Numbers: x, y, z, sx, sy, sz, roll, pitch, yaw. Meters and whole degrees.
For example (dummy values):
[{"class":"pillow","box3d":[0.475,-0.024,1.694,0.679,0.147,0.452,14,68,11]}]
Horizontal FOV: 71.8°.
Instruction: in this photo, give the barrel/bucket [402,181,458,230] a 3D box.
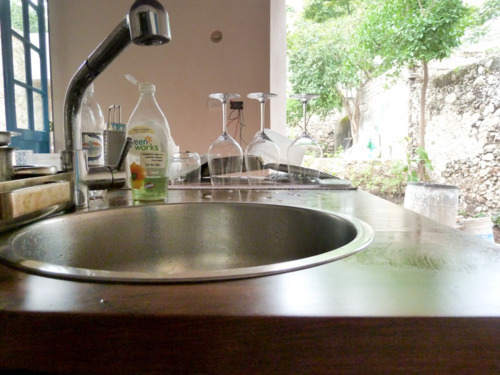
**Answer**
[{"class":"barrel/bucket","box3d":[1.175,0.107,2.253,0.306,0.276,0.210,7,11,23]}]

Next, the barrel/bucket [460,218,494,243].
[{"class":"barrel/bucket","box3d":[1.843,0.337,2.801,0.204,0.191,0.341,9,11,31]}]

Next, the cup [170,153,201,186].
[{"class":"cup","box3d":[-0.194,-0.058,1.117,0.106,0.098,0.103,1,1,0]}]
